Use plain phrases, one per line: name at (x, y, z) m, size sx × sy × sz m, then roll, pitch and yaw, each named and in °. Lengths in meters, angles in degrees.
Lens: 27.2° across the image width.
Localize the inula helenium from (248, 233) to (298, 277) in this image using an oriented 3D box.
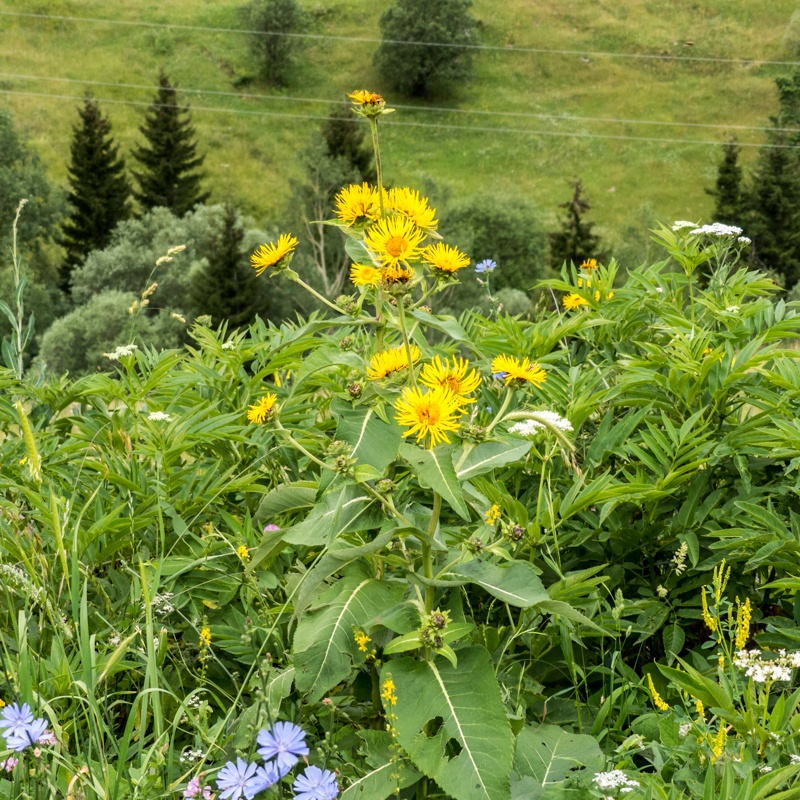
inula helenium at (-2.765, -3.139, 36.282) m, size 0.996 × 0.867 × 0.535 m, roll -4°, pitch 25°, yaw -13°

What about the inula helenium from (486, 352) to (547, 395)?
inula helenium at (2.582, -0.622, 36.108) m, size 0.771 × 0.457 × 0.845 m, roll 16°, pitch 15°, yaw -12°
